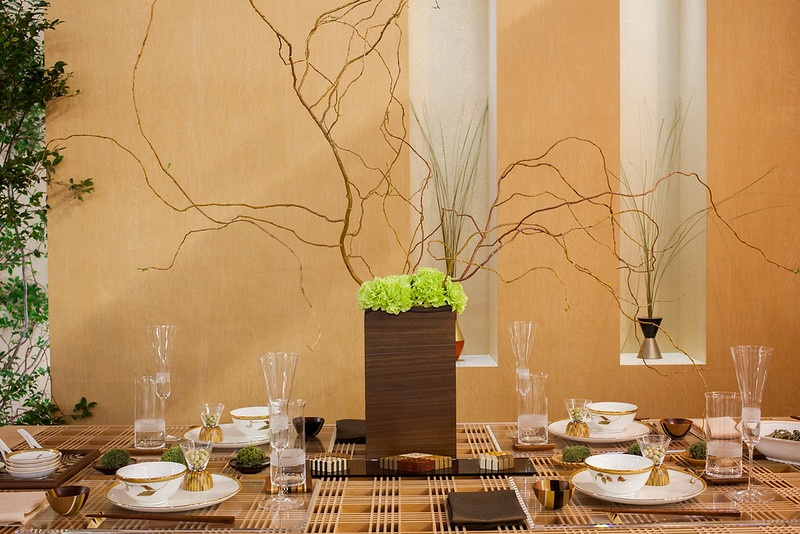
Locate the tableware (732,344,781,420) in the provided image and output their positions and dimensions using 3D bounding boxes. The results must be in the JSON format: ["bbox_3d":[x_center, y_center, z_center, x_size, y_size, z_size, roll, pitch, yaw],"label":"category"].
[{"bbox_3d":[1.268,0.400,2.401,0.121,0.264,0.202,7,15,30],"label":"tableware"}]

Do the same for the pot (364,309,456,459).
[{"bbox_3d":[0.038,0.462,2.818,0.446,0.657,0.441,1,3,0],"label":"pot"}]

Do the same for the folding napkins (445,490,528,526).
[{"bbox_3d":[0.287,0.808,2.237,0.261,0.033,0.160,-1,12,-6],"label":"folding napkins"}]

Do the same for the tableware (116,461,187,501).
[{"bbox_3d":[-0.861,0.751,2.301,0.235,0.107,0.242,2,-3,-2],"label":"tableware"}]

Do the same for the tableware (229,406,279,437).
[{"bbox_3d":[-0.628,0.642,2.846,0.211,0.105,0.217,0,-11,2],"label":"tableware"}]

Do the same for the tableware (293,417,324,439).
[{"bbox_3d":[-0.368,0.643,2.741,0.159,0.082,0.164,1,-5,-2],"label":"tableware"}]

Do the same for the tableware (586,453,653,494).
[{"bbox_3d":[0.762,0.706,2.284,0.147,0.070,0.152,-1,-10,6],"label":"tableware"}]

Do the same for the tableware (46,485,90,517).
[{"bbox_3d":[-1.116,0.770,2.207,0.097,0.055,0.098,0,-9,0],"label":"tableware"}]

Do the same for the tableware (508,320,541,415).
[{"bbox_3d":[0.520,0.419,2.778,0.130,0.388,0.129,0,-9,-6],"label":"tableware"}]

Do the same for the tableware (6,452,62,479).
[{"bbox_3d":[-1.360,0.718,2.454,0.110,0.051,0.112,0,-5,-1],"label":"tableware"}]

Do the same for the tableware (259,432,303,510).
[{"bbox_3d":[-0.411,0.686,2.317,0.143,0.271,0.160,2,-2,2],"label":"tableware"}]

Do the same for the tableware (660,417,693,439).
[{"bbox_3d":[1.176,0.673,2.841,0.111,0.068,0.114,0,-6,0],"label":"tableware"}]

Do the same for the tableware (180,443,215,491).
[{"bbox_3d":[-0.728,0.709,2.358,0.124,0.165,0.119,-4,-12,-7],"label":"tableware"}]
